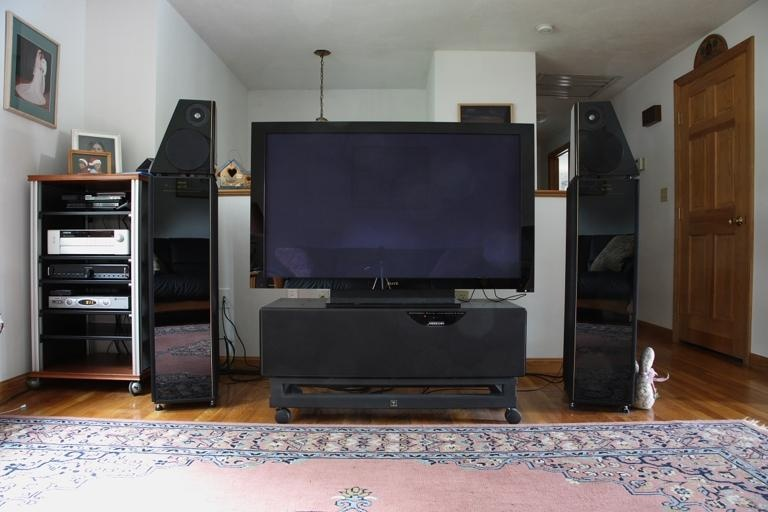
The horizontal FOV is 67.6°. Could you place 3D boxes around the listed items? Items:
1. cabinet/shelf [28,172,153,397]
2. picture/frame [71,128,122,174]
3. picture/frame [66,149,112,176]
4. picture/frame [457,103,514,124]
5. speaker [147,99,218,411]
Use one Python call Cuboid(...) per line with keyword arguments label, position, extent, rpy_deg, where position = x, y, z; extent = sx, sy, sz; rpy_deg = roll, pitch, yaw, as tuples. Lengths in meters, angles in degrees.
Cuboid(label="cabinet/shelf", position=(-2.213, 0.190, 4.467), extent=(1.020, 1.639, 0.527), rpy_deg=(-1, 3, 8))
Cuboid(label="picture/frame", position=(-2.319, -0.833, 4.607), extent=(0.458, 0.429, 0.073), rpy_deg=(2, -11, -23))
Cuboid(label="picture/frame", position=(-2.338, -0.739, 4.535), extent=(0.278, 0.216, 0.032), rpy_deg=(-1, -5, -23))
Cuboid(label="picture/frame", position=(1.066, -1.518, 6.047), extent=(0.567, 0.188, 0.077), rpy_deg=(-2, 3, -5))
Cuboid(label="speaker", position=(-1.397, -0.014, 3.993), extent=(0.489, 2.139, 0.176), rpy_deg=(-2, 3, 2))
